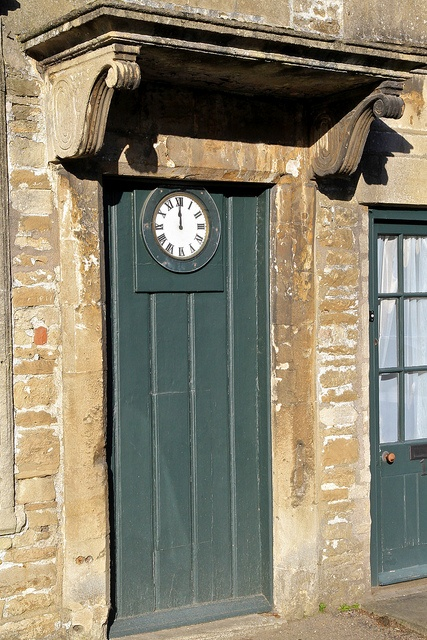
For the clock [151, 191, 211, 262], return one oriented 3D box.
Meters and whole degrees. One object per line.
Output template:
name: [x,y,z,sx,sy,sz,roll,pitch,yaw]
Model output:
clock: [-0.174,-0.454,6.432,0.014,0.329,0.250,0,5,44]
